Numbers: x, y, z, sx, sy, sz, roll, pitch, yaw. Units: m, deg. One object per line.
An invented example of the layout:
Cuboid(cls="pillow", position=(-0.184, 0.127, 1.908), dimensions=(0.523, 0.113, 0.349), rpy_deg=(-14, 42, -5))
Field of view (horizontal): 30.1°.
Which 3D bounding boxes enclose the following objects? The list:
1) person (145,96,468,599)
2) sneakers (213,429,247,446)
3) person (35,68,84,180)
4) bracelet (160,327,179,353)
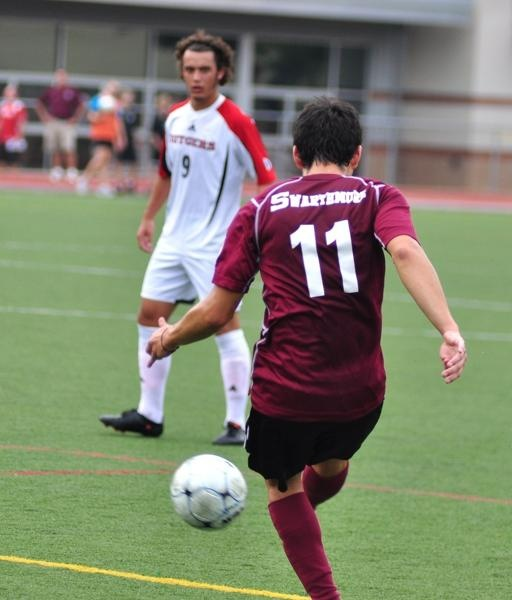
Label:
Cuboid(cls="person", position=(0.222, 0.149, 3.098), dimensions=(0.952, 1.591, 0.428), rpy_deg=(9, 11, 29))
Cuboid(cls="sneakers", position=(-0.129, 0.710, 4.957), dimensions=(0.216, 0.090, 0.070), rpy_deg=(9, -15, -34))
Cuboid(cls="person", position=(-1.191, -1.050, 5.826), dimensions=(0.250, 0.655, 0.901), rpy_deg=(2, 9, -10))
Cuboid(cls="bracelet", position=(-0.300, 0.133, 3.259), dimensions=(0.070, 0.079, 0.073), rpy_deg=(3, 12, 1))
